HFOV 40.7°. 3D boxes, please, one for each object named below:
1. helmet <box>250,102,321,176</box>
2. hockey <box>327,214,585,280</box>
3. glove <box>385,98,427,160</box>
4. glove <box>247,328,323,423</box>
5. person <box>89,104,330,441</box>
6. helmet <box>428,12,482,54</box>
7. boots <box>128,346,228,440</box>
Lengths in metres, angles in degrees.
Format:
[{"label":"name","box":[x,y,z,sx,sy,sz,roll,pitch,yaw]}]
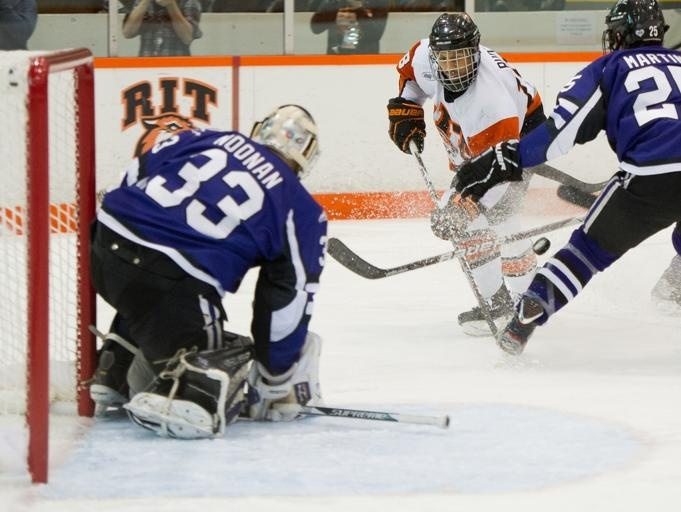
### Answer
[{"label":"helmet","box":[-0.146,-0.408,3.247,0.234,0.249,0.248,26,9,0]},{"label":"hockey","box":[0.593,-0.048,4.310,1.322,0.227,0.239,-12,18,-16]},{"label":"glove","box":[0.337,-0.666,4.729,0.230,0.268,0.123,-7,3,-13]},{"label":"glove","box":[-0.161,0.393,3.175,0.153,0.271,0.425,1,28,15]},{"label":"person","box":[-0.455,0.087,2.985,0.747,0.956,0.495,3,14,10]},{"label":"helmet","box":[0.485,-0.974,4.030,0.170,0.167,0.208,0,6,31]},{"label":"boots","box":[-0.530,0.451,2.931,0.296,0.139,0.345,17,16,-5]}]
